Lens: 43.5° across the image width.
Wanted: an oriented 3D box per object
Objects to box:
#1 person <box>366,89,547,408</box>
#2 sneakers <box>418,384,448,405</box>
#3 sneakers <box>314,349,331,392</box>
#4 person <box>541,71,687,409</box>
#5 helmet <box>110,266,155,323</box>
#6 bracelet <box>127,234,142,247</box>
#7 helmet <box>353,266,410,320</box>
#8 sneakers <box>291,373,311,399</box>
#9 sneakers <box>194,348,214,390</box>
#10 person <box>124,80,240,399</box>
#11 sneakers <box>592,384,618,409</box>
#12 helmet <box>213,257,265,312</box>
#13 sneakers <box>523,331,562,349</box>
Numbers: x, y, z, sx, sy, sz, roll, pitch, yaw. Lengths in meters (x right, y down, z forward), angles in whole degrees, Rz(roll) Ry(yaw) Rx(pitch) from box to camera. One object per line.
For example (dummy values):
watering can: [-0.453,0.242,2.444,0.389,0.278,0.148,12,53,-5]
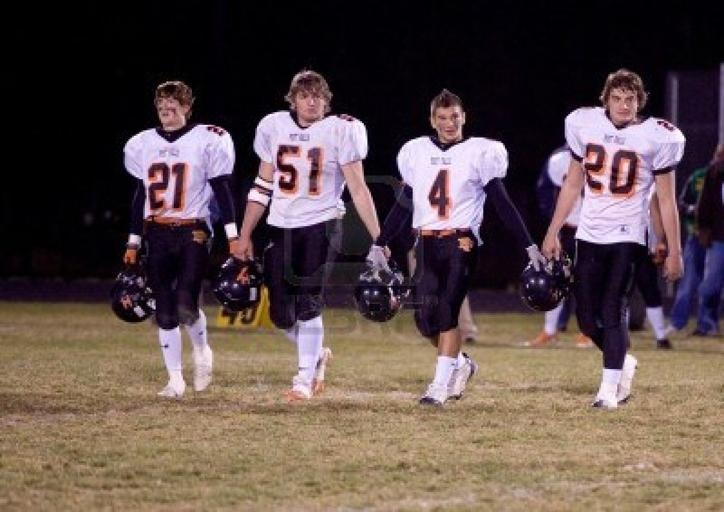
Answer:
person: [0.686,-0.074,7.323,1.251,2.539,0.499,1,4,0]
sneakers: [0.571,1.098,7.245,0.236,0.170,0.207,1,5,5]
sneakers: [-0.386,0.996,7.655,0.119,0.361,0.165,13,16,16]
person: [1.960,-0.132,7.126,1.029,2.639,0.339,2,5,19]
helmet: [-1.986,0.293,7.712,0.238,0.300,0.326,-5,26,2]
bracelet: [-1.905,-0.137,7.610,0.096,0.085,0.108,9,-15,7]
helmet: [0.157,0.288,7.551,0.410,0.536,0.202,-1,0,1]
sneakers: [-0.497,1.065,7.348,0.161,0.196,0.130,0,5,-6]
sneakers: [-1.337,0.898,7.570,0.197,0.188,0.501,2,43,-11]
person: [-1.486,-0.141,7.418,0.955,2.572,0.515,1,4,-1]
sneakers: [1.915,1.121,7.171,0.130,0.112,0.162,9,49,19]
helmet: [-1.008,0.235,7.608,0.473,0.479,0.357,-10,13,-43]
sneakers: [2.043,0.975,10.560,0.500,0.220,0.171,-3,8,-11]
